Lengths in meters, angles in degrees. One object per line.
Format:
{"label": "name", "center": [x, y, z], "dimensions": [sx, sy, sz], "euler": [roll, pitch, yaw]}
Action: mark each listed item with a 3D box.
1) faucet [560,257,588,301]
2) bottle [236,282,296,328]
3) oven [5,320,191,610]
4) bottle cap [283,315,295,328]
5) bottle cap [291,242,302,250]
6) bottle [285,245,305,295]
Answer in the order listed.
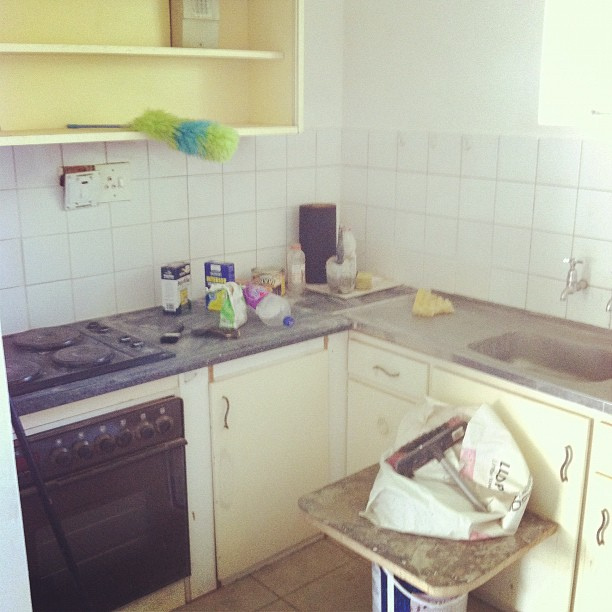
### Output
{"label": "faucet", "center": [0.915, -0.099, 1.854], "dimensions": [0.115, 0.141, 0.065], "euler": [-12, 20, -31]}
{"label": "bottle", "center": [-0.162, -0.011, 2.076], "dimensions": [0.129, 0.130, 0.350], "euler": [-13, 17, -35]}
{"label": "oven", "center": [-0.616, 0.530, 1.696], "dimensions": [0.500, 0.826, 0.403], "euler": [-11, 15, -29]}
{"label": "bottle cap", "center": [-0.063, 0.058, 1.968], "dimensions": [0.031, 0.036, 0.020], "euler": [16, -3, -7]}
{"label": "bottle cap", "center": [-0.037, -0.260, 2.339], "dimensions": [0.039, 0.011, 0.042], "euler": [-8, 22, -24]}
{"label": "bottle", "center": [-0.048, -0.166, 2.371], "dimensions": [0.095, 0.213, 0.131], "euler": [-3, 13, -1]}
